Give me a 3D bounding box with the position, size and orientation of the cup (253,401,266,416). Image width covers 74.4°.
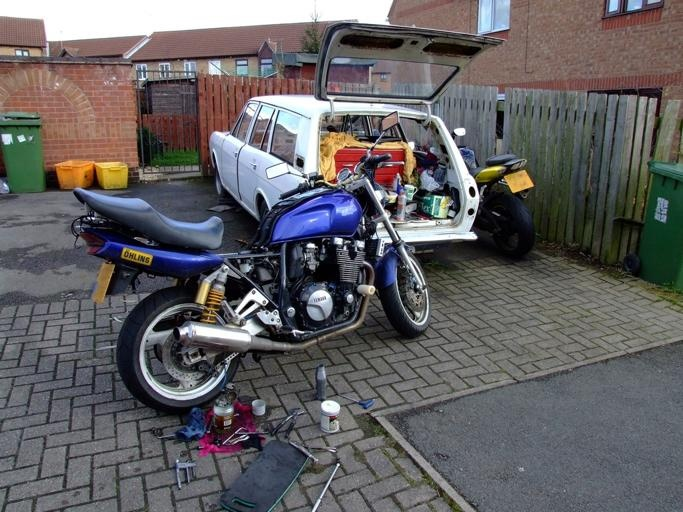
[{"bbox_3d":[-0.640,1.161,3.443,0.111,0.077,0.103,2,8,0],"label":"cup"}]

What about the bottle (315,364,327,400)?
[{"bbox_3d":[-0.173,1.052,3.710,0.118,0.240,0.230,-1,15,-6],"label":"bottle"}]

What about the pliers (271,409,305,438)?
[{"bbox_3d":[-0.415,1.247,3.382,0.085,0.030,0.274,0,14,13],"label":"pliers"}]

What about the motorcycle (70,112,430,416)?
[{"bbox_3d":[-0.573,0.164,3.662,2.540,1.740,0.725,-13,23,-28],"label":"motorcycle"}]

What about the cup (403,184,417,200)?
[{"bbox_3d":[0.865,-0.831,5.891,0.248,0.229,0.153,-8,13,-37],"label":"cup"}]

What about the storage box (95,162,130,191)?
[{"bbox_3d":[-5.329,-1.842,10.403,0.613,0.495,0.773,-9,21,-33],"label":"storage box"}]
